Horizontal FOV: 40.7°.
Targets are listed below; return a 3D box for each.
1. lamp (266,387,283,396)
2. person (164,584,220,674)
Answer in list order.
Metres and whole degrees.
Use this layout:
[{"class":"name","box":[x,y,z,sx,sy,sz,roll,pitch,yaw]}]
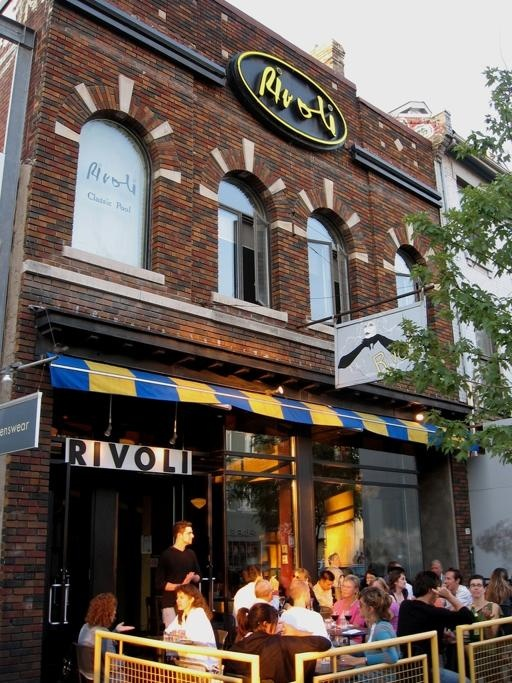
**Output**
[{"class":"lamp","box":[0.304,0.832,11.299,0.211,0.106,0.176,-13,-20,31]},{"class":"person","box":[-0.553,2.610,5.950,0.480,0.953,0.456,0,-10,3]}]
